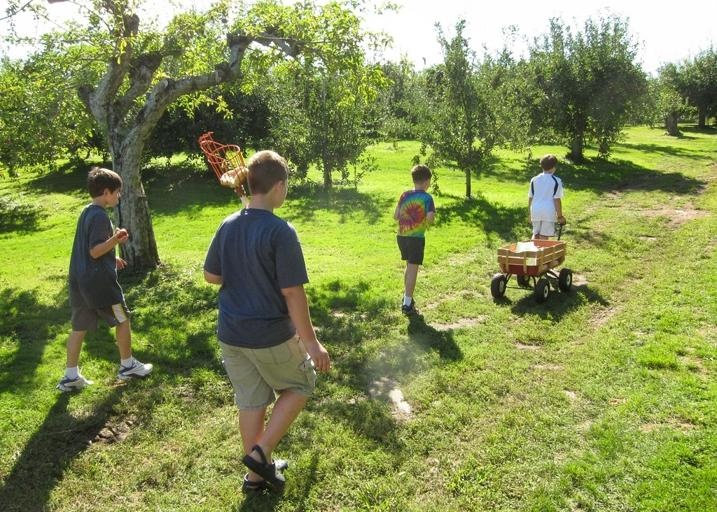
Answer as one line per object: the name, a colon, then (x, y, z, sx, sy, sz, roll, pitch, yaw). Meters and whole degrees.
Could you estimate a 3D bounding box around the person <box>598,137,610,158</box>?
person: (12.612, -5.592, 32.550, 0.569, 1.082, 0.897, 5, 16, 27)

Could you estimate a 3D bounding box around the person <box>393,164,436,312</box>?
person: (1.187, -0.379, 13.282, 0.783, 2.988, 1.135, -1, 14, 6)

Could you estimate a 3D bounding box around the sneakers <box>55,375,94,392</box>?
sneakers: (-4.868, 2.141, 10.923, 0.561, 0.302, 0.223, 1, 7, -22)

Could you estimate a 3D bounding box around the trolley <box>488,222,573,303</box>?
trolley: (3.942, 0.096, 14.251, 1.340, 1.684, 1.979, 4, 11, 44)
